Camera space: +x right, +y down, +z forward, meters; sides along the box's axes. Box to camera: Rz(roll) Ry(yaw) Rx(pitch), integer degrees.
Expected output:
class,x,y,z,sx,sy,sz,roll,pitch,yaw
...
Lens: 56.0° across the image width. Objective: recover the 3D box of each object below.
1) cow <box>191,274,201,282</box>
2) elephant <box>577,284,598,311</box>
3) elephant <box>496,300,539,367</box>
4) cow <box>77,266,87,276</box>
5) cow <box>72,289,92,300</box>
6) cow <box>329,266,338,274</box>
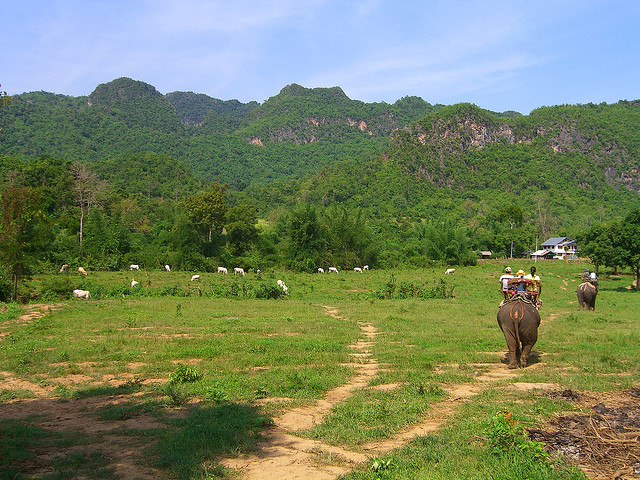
class,x,y,z,sx,sy,sz,roll,pitch,yaw
cow,-10.313,3.122,49.086,1.159,0.619,0.348,-8,7,12
elephant,14.696,3.201,33.325,0.801,1.531,1.114,-2,9,-7
elephant,7.626,3.494,23.181,1.569,2.306,1.643,-2,0,16
cow,-19.685,2.606,49.984,0.436,0.782,1.482,1,5,-24
cow,-14.433,3.294,36.463,1.152,0.525,0.563,0,9,7
cow,1.478,3.275,66.778,0.818,0.608,2.073,-1,9,-1
